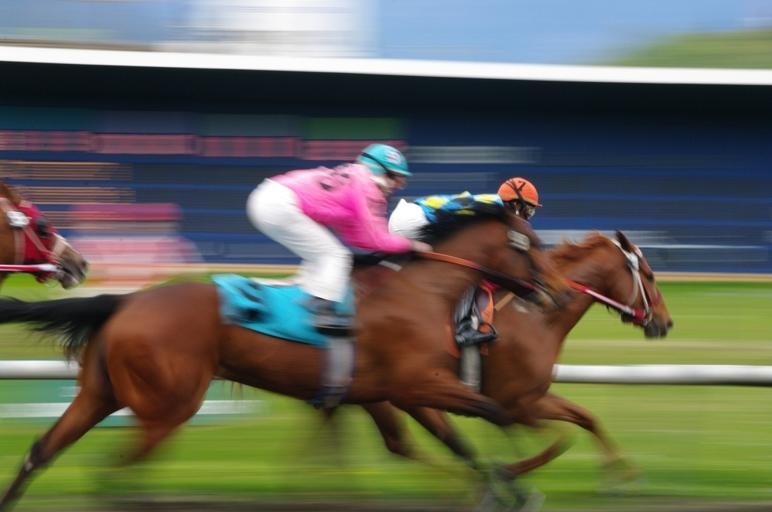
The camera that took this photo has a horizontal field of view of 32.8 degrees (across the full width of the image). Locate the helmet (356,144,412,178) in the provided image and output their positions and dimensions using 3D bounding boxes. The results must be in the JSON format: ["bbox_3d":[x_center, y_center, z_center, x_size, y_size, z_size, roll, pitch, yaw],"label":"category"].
[{"bbox_3d":[-0.053,-0.725,9.742,0.458,0.150,0.282,10,5,-34],"label":"helmet"}]
